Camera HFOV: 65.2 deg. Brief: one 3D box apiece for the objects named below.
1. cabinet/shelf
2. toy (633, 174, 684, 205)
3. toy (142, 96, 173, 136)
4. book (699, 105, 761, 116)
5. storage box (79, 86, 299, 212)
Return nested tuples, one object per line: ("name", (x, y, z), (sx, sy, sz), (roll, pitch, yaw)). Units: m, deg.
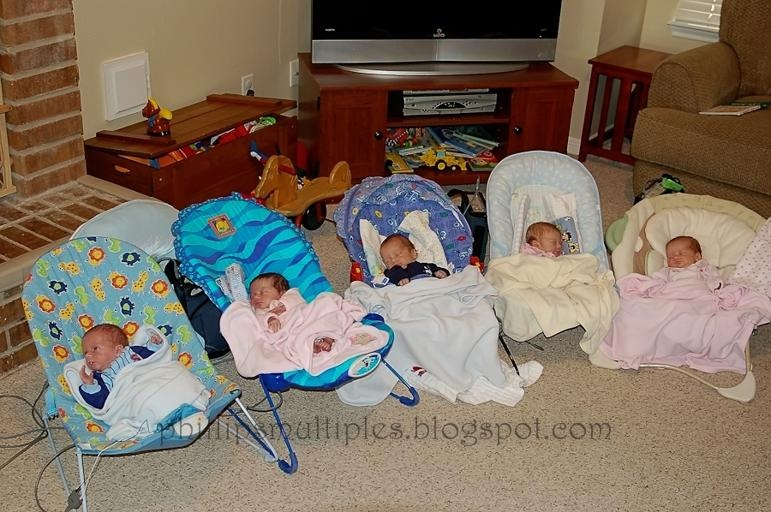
("cabinet/shelf", (0.461, -0.845, 4.504), (1.765, 0.736, 0.622), (-1, 0, 7))
("toy", (1.737, -0.432, 3.817), (0.337, 0.123, 0.248), (-14, 23, -20))
("toy", (-1.365, -0.829, 3.590), (0.149, 0.188, 0.244), (-12, 31, -18))
("book", (2.282, -0.952, 3.954), (0.434, 0.041, 0.178), (2, 29, 5))
("storage box", (-1.201, -0.662, 3.718), (0.762, 0.604, 1.265), (22, 38, 35))
